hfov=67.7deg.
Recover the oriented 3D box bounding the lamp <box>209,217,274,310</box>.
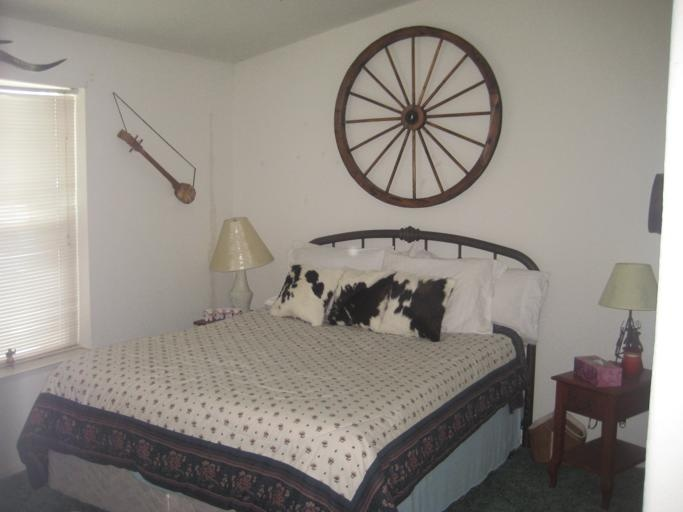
[{"bbox_3d":[-0.810,0.096,4.023,0.443,0.779,0.450,-13,21,-30],"label":"lamp"}]

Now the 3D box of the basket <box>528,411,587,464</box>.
[{"bbox_3d":[1.273,1.063,3.079,0.306,0.292,0.267,-15,-3,24],"label":"basket"}]

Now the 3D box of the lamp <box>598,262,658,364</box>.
[{"bbox_3d":[1.596,0.350,2.868,0.265,0.670,0.407,7,15,34],"label":"lamp"}]
